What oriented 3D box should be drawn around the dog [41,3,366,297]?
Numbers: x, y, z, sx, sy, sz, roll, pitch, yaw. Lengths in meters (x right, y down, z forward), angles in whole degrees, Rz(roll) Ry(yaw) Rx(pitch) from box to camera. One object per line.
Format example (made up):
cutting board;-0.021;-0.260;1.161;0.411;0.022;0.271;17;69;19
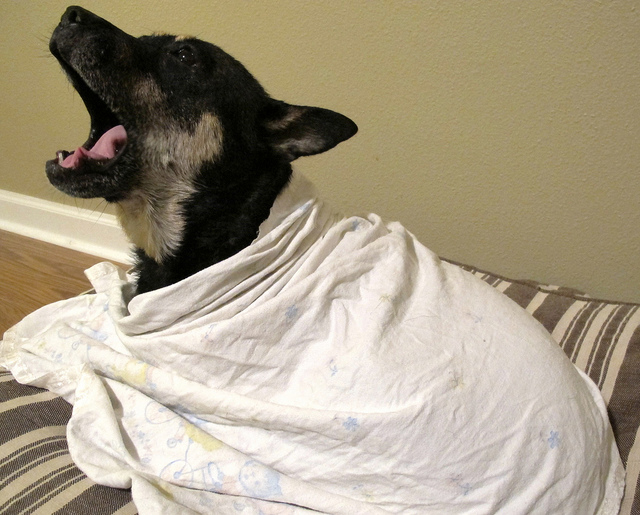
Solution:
dog;-0.501;-0.268;2.562;1.152;0.862;0.796;8;87;57
